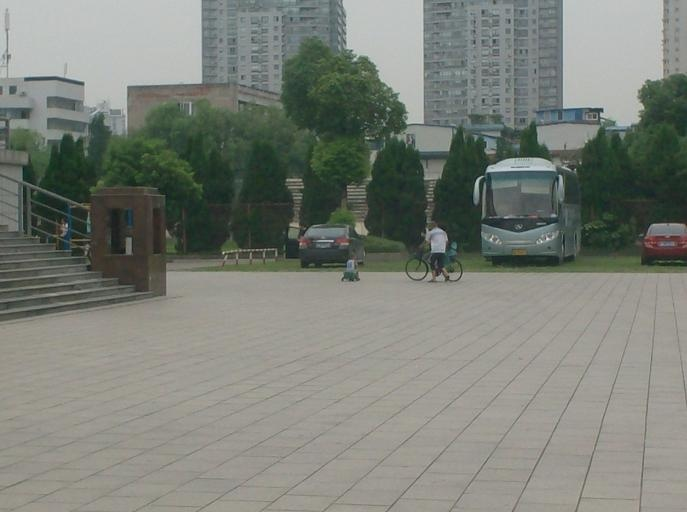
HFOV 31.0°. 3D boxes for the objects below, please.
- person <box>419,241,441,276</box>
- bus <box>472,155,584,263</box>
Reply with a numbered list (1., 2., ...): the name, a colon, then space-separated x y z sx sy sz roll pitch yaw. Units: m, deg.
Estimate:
1. person: 2.266 0.087 32.574 0.560 0.644 1.817 -8 12 -2
2. bus: 6.392 -1.393 41.628 1.931 2.270 5.521 -1 -2 18
